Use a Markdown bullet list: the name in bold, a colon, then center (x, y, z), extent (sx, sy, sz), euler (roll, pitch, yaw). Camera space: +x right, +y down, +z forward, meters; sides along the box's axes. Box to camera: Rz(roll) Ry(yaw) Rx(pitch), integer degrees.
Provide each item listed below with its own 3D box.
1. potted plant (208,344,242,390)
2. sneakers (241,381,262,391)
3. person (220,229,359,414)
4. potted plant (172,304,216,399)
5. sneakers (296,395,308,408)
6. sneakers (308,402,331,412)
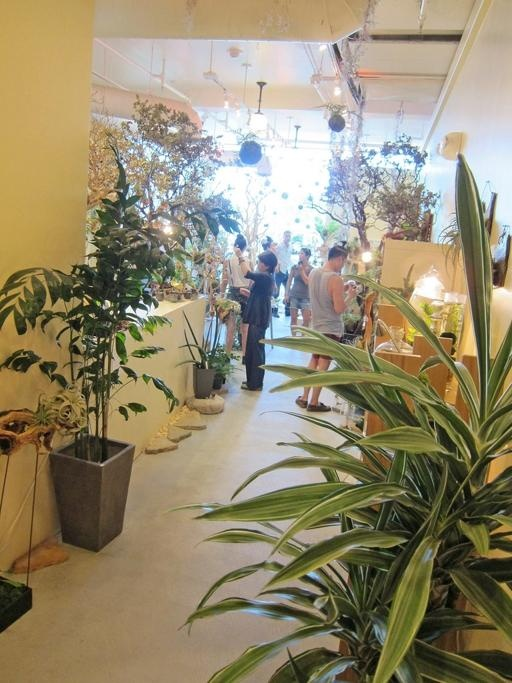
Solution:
- **potted plant**: center (-0.342, 0.265, 4.793), extent (0.425, 0.447, 0.406), euler (3, 4, -4)
- **sneakers**: center (-0.044, 0.492, 5.128), extent (0.190, 0.181, 0.093), euler (5, 4, 8)
- **person**: center (0.476, -0.197, 4.911), extent (0.772, 1.645, 1.381), euler (-1, 14, -44)
- **potted plant**: center (-0.520, 0.124, 4.311), extent (0.320, 0.813, 0.710), euler (9, 10, 1)
- **sneakers**: center (0.460, 0.600, 4.679), extent (0.057, 0.057, 0.158), euler (1, 12, -3)
- **sneakers**: center (0.607, 0.632, 4.584), extent (0.247, 0.097, 0.090), euler (0, 4, -13)
